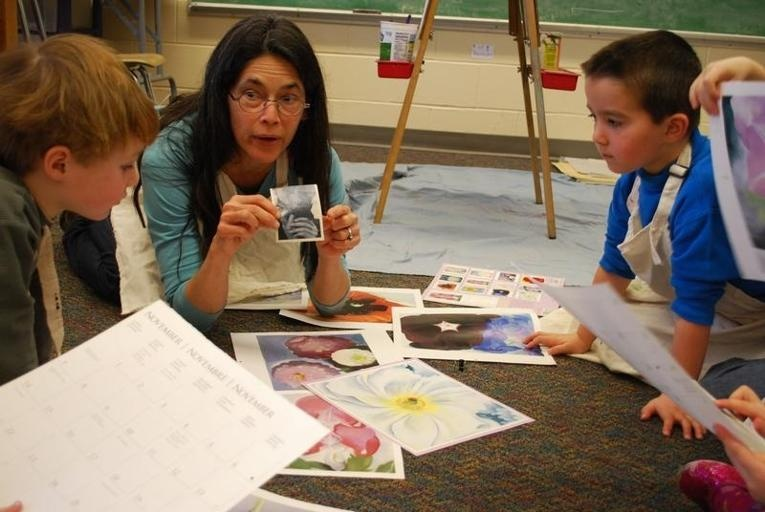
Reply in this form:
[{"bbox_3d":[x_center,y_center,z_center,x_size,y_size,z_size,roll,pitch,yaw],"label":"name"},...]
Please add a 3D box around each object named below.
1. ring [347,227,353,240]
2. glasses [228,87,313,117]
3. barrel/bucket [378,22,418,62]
[{"bbox_3d":[-0.092,-0.056,1.576,0.010,0.024,0.019,-3,11,-17],"label":"ring"},{"bbox_3d":[-0.309,-0.408,1.527,0.188,0.064,0.064,-3,22,-14],"label":"glasses"},{"bbox_3d":[0.067,-1.007,2.745,0.193,0.149,0.205,5,15,-1],"label":"barrel/bucket"}]
